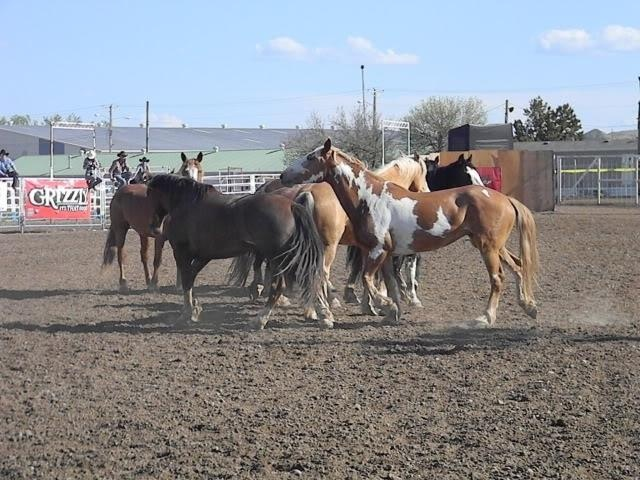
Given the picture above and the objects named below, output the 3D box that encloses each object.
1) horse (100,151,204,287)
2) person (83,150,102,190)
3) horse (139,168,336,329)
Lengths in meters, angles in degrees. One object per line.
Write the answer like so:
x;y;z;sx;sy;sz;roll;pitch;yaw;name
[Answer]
-2.778;-0.184;12.754;0.627;2.004;2.536;-1;1;-40;horse
-6.882;-2.126;23.975;0.492;1.126;1.113;-3;7;-15;person
-1.185;0.176;10.293;2.830;1.964;0.757;2;1;25;horse
